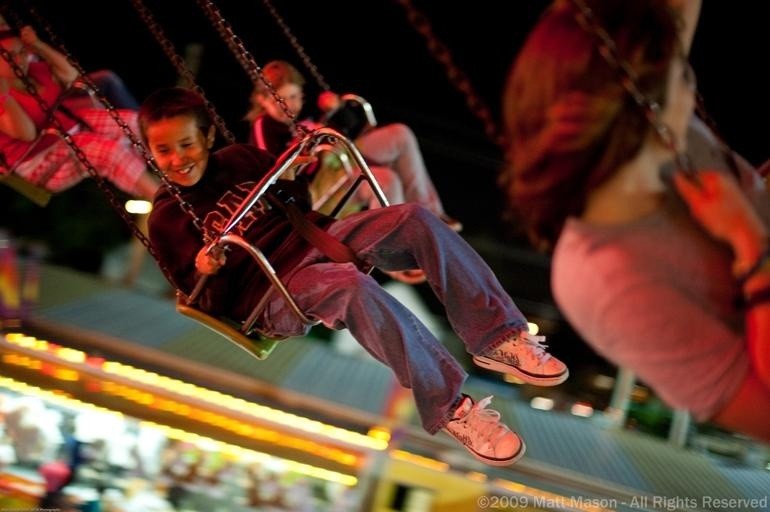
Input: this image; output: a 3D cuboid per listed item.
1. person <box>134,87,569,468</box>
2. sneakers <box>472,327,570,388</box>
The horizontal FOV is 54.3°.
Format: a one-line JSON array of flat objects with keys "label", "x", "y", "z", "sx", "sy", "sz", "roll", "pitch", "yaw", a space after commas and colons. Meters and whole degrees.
[{"label": "person", "x": -0.228, "y": 0.041, "z": 3.578, "sx": 2.344, "sy": 1.450, "sz": 0.533, "roll": 16, "pitch": -30, "yaw": 0}, {"label": "sneakers", "x": 0.648, "y": 0.442, "z": 3.527, "sx": 0.581, "sy": 0.194, "sz": 0.228, "roll": 6, "pitch": -55, "yaw": 19}]
